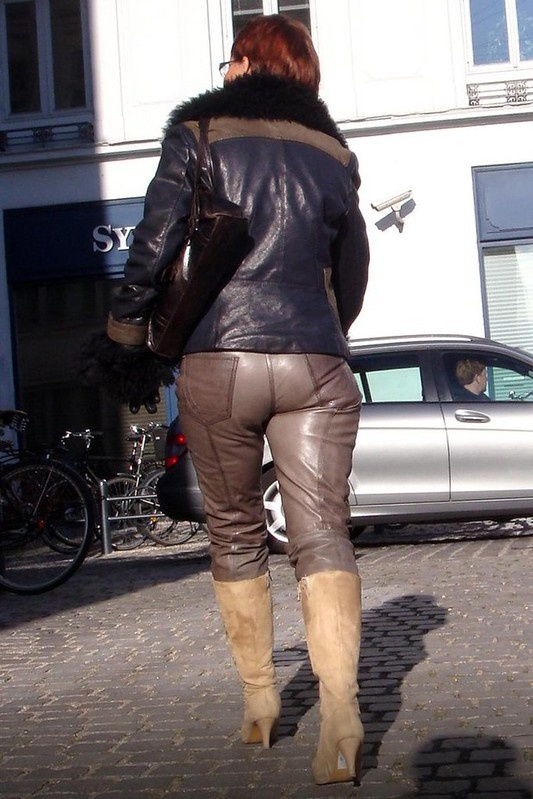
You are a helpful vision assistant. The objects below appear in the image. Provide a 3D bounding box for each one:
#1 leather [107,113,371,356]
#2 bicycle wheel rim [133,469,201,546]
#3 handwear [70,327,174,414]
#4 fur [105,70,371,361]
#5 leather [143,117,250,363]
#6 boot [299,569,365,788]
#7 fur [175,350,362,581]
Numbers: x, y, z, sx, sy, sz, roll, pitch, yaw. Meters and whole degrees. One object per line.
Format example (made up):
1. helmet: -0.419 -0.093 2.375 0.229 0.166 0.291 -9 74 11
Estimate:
1. leather: -0.052 -0.437 2.001 0.714 0.554 0.352 -5 8 -33
2. bicycle wheel rim: -1.216 1.292 8.897 1.055 0.886 0.214 11 -7 -36
3. handwear: -0.398 -0.073 2.162 0.278 0.130 0.220 30 20 12
4. fur: -0.057 -0.430 1.993 0.649 0.699 0.415 4 -10 -23
5. leather: -0.177 -0.386 1.837 0.174 0.562 0.332 -13 10 -43
6. boot: 0.155 0.630 1.678 0.138 0.452 0.298 -5 7 5
7. fur: 0.015 0.205 1.880 0.493 0.708 0.267 -6 -5 -11
